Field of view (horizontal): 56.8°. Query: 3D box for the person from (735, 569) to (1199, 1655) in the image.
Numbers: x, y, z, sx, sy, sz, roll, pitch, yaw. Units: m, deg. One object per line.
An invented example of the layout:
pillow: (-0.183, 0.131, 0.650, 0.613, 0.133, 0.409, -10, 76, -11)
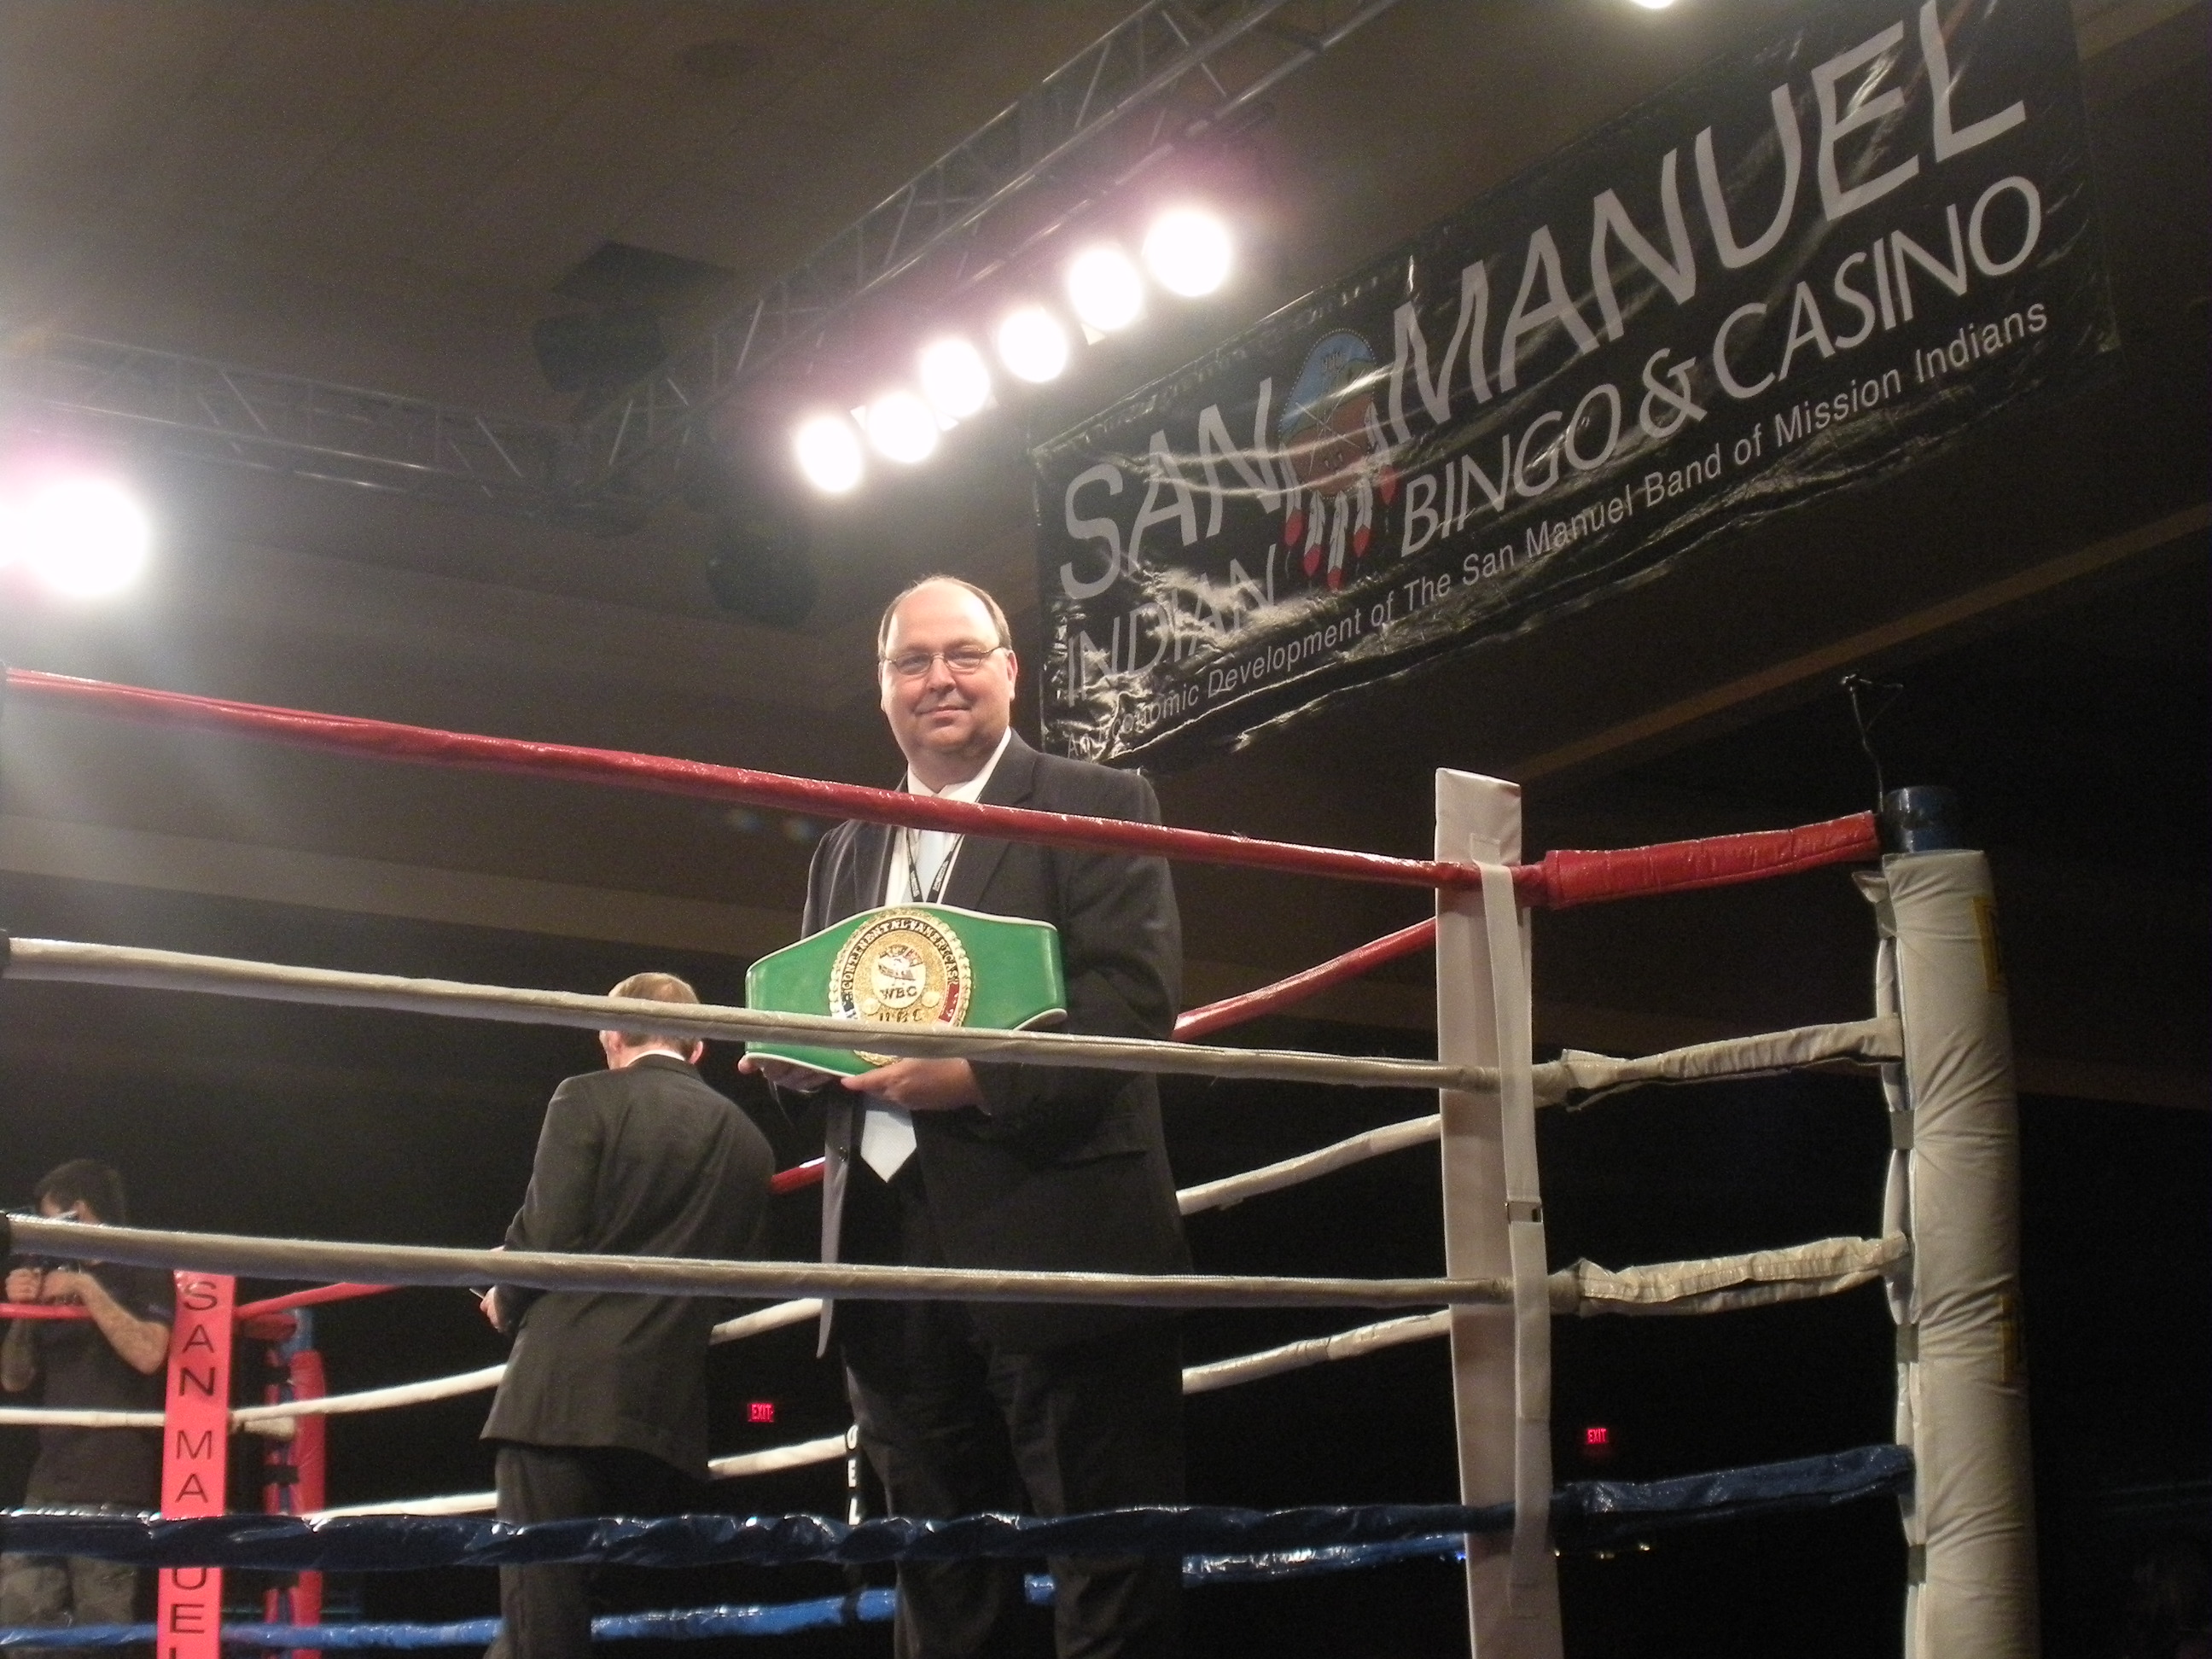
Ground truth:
person: (-0.141, 0.354, 2.929, 0.523, 1.532, 0.749, 20, -33, -35)

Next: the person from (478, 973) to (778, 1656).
person: (-0.916, 0.870, 3.935, 0.536, 1.328, 0.404, 10, -28, -19)
